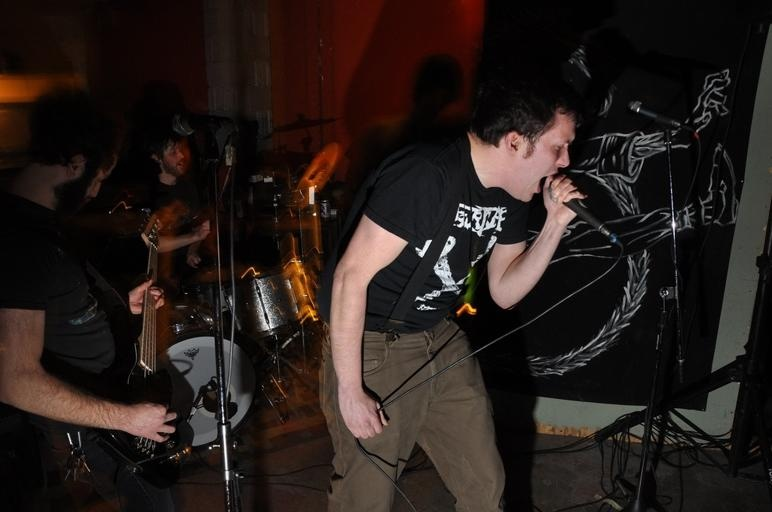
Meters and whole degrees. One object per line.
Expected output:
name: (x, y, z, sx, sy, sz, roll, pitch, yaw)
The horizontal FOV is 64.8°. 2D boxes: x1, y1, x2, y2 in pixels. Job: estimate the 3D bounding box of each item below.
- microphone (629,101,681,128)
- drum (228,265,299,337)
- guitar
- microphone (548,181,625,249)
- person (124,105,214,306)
microphone: (1.737, -0.922, 3.901, 0.404, 0.107, 0.110, 23, 18, 8)
drum: (-0.941, 0.382, 4.838, 0.529, 0.390, 0.485, -17, -2, -1)
guitar: (-1.345, 0.564, 3.538, 0.170, 1.453, 0.542, -8, -16, -4)
microphone: (1.275, -0.279, 3.817, 0.096, 0.106, 0.613, -26, 59, -34)
person: (-1.863, -0.408, 5.374, 0.894, 1.758, 0.455, -2, 14, 23)
